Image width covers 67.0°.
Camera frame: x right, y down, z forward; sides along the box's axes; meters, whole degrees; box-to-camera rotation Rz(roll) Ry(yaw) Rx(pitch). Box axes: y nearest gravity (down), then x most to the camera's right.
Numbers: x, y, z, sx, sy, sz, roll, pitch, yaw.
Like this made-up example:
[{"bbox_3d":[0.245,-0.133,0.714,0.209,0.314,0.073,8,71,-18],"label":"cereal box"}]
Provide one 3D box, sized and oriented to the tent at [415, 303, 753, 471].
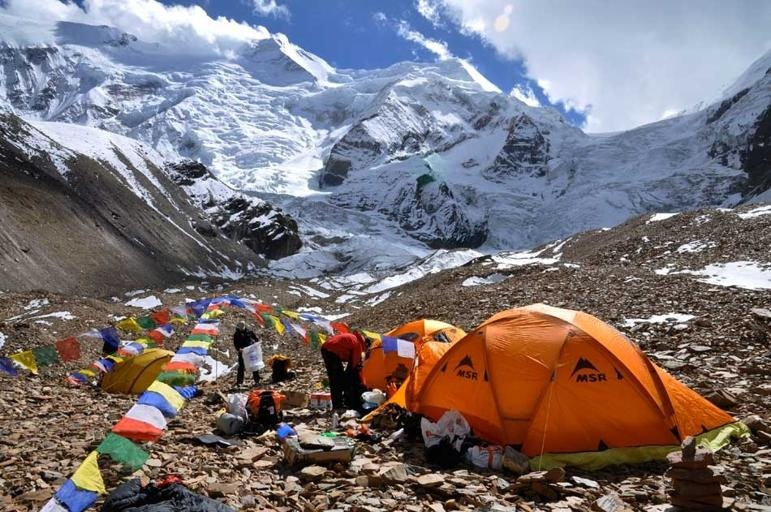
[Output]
[{"bbox_3d":[6.469,3.731,18.087,7.424,2.031,6.141,-2,-7,20],"label":"tent"}]
